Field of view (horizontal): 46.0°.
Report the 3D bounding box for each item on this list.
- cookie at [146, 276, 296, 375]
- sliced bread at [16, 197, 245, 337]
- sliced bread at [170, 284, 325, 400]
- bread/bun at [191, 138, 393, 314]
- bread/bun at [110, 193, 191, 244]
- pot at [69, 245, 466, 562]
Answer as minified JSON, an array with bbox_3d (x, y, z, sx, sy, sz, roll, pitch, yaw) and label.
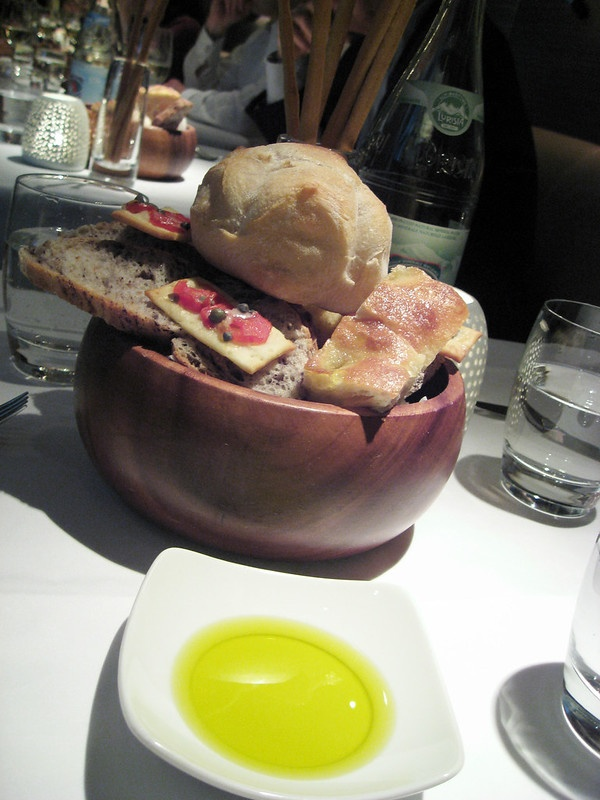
[{"bbox_3d":[-0.047,-0.043,0.398,0.085,0.014,0.044,36,45,18],"label":"cookie"},{"bbox_3d":[-0.108,-0.079,0.437,0.111,0.028,0.114,37,42,26],"label":"sliced bread"},{"bbox_3d":[-0.028,-0.033,0.412,0.073,0.016,0.071,-3,41,-35],"label":"sliced bread"},{"bbox_3d":[-0.005,-0.098,0.400,0.110,0.061,0.101,22,32,-8],"label":"bread/bun"},{"bbox_3d":[-0.093,-0.114,0.452,0.032,0.010,0.045,-10,33,-34],"label":"bread/bun"},{"bbox_3d":[-0.017,0.028,0.440,0.246,0.123,0.123,8,21,-16],"label":"pot"}]
